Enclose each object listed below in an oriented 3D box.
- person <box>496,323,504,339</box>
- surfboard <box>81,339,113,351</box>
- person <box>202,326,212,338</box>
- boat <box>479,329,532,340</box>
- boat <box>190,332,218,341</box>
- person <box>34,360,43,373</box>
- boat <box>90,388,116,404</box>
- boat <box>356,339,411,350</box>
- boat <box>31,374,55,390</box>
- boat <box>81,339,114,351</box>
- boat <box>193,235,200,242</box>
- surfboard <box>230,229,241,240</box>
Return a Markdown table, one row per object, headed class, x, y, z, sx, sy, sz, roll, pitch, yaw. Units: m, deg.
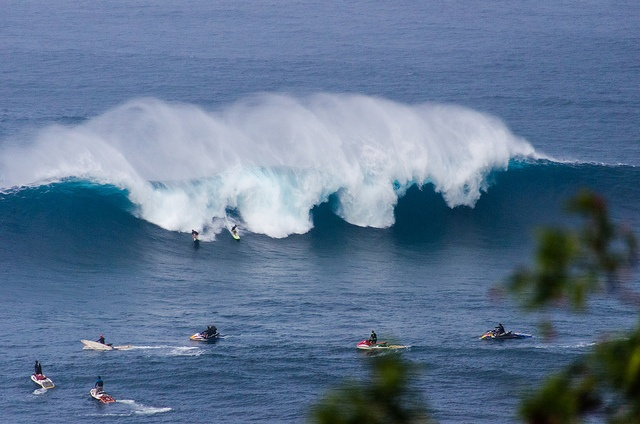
| class | x | y | z | sx | sy | sz | roll | pitch | yaw |
| --- | --- | --- | --- | --- | --- | --- | --- | --- | --- |
| person | 11.114 | 7.461 | 72.712 | 0.623 | 0.725 | 0.320 | -5 | 5 | -25 |
| surfboard | -13.662 | 8.209 | 71.936 | 0.663 | 0.404 | 2.141 | 8 | -4 | 32 |
| person | -6.943 | 7.542 | 72.634 | 0.434 | 0.668 | 0.278 | 15 | -23 | 15 |
| boat | 11.507 | 7.744 | 72.774 | 3.169 | 0.618 | 1.018 | -1 | 4 | 0 |
| boat | -7.138 | 7.786 | 72.370 | 1.179 | 0.225 | 0.642 | 3 | 2 | -1 |
| person | -16.768 | 9.238 | 69.803 | 0.429 | 0.893 | 0.885 | -8 | 24 | -12 |
| boat | -12.758 | 10.824 | 68.679 | 1.383 | 0.384 | 0.722 | 23 | 23 | 18 |
| boat | 3.749 | 8.222 | 71.602 | 3.049 | 0.408 | 1.072 | -2 | 22 | 0 |
| boat | -16.386 | 10.016 | 69.321 | 1.172 | 0.256 | 0.760 | 35 | 23 | 32 |
| boat | -13.619 | 8.197 | 71.918 | 0.676 | 0.412 | 2.183 | 8 | -4 | 32 |
| boat | -8.655 | 1.894 | 82.376 | 0.402 | 0.381 | 0.395 | -9 | 24 | -15 |
| surfboard | -5.990 | 1.618 | 82.988 | 0.584 | 0.592 | 0.823 | -7 | 23 | -11 |
